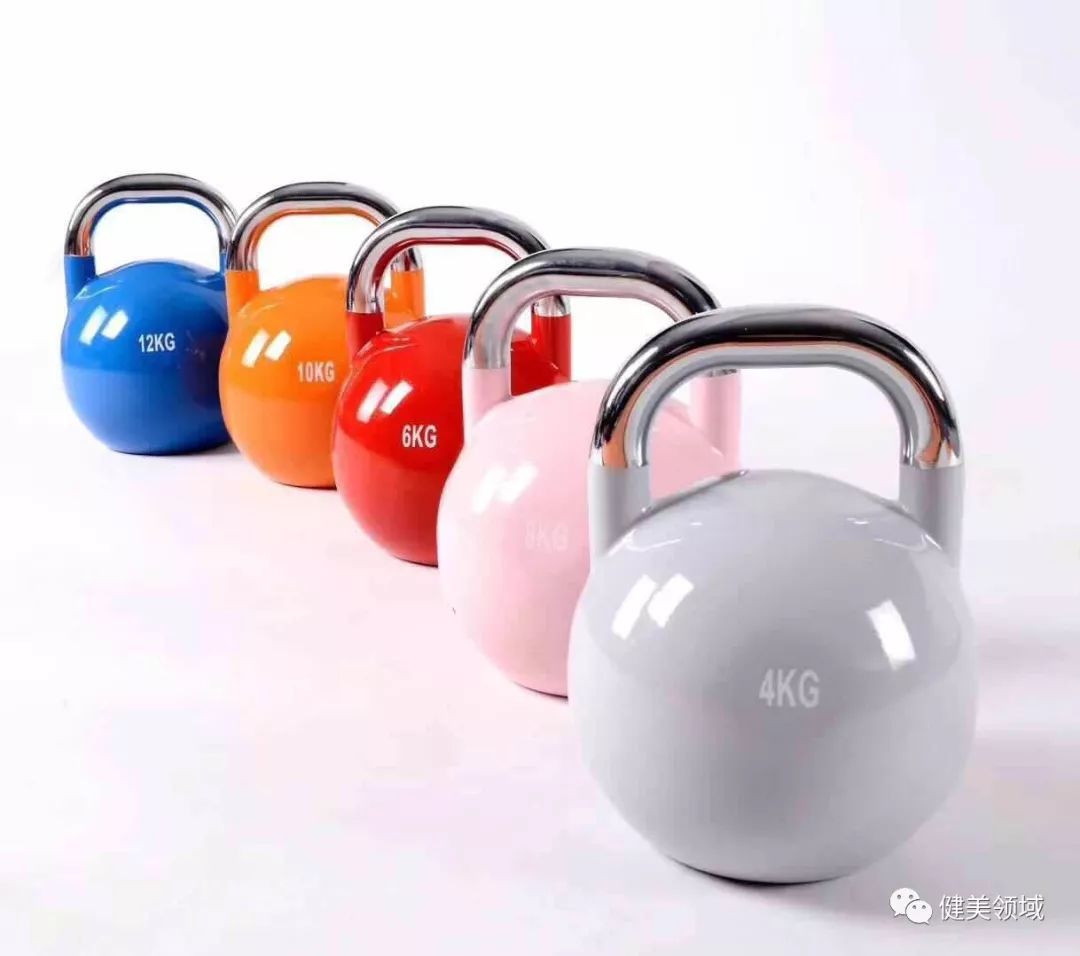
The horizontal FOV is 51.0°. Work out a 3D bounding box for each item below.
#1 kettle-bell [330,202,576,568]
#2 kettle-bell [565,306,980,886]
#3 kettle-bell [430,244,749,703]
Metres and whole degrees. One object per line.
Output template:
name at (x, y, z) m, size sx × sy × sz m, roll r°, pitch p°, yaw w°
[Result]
kettle-bell at (-0.228, -0.184, 2.353) m, size 0.464 × 0.777 × 0.461 m, roll -3°, pitch -16°, yaw 26°
kettle-bell at (0.306, 0.160, 1.341) m, size 0.424 × 0.704 × 0.448 m, roll -3°, pitch -2°, yaw 16°
kettle-bell at (0.071, 0.018, 1.811) m, size 0.458 × 0.796 × 0.473 m, roll -1°, pitch -15°, yaw 9°
